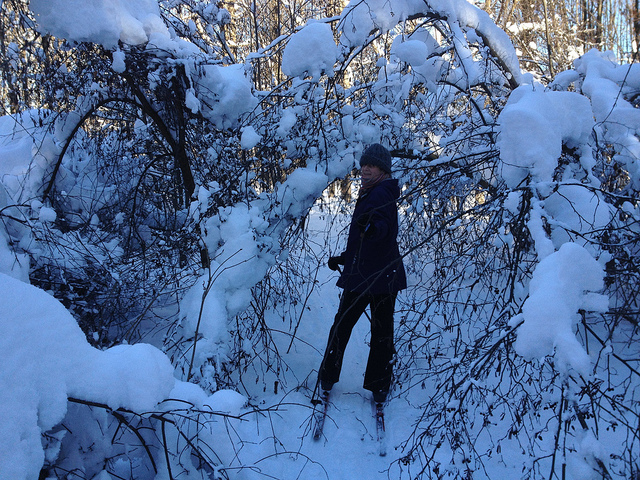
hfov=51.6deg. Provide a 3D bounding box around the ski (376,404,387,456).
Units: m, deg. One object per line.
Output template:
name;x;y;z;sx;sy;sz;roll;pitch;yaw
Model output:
ski;0.513;1.700;5.783;0.072;0.531;0.054;-6;-1;-6

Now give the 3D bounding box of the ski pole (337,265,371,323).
ski pole;0.302;0.478;5.866;0.741;0.056;0.093;54;6;-14

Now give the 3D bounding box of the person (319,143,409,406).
person;0.419;0.296;5.822;0.699;2.326;0.750;5;-6;6

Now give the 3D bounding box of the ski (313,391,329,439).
ski;0.034;1.544;5.868;0.062;0.446;0.123;10;-43;5
